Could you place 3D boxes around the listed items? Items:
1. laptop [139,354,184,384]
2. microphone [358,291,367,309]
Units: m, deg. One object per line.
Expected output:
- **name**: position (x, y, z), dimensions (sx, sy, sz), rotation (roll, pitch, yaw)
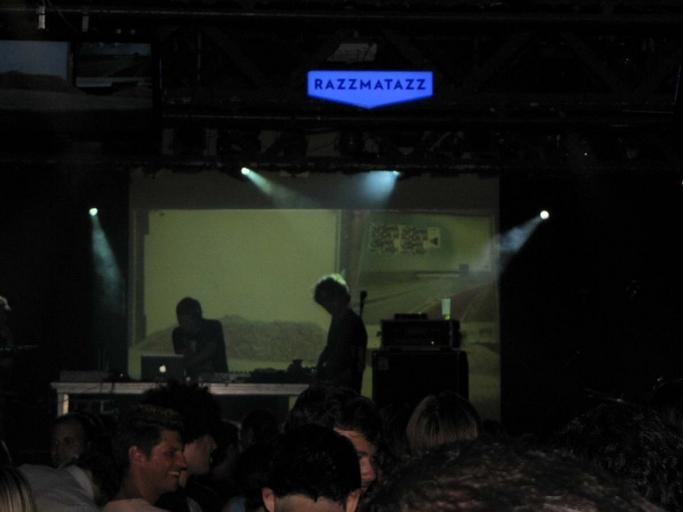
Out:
- **laptop**: position (-1.942, 1.177, 10.257), dimensions (0.642, 0.330, 0.398), rotation (2, -7, -8)
- **microphone**: position (0.226, 0.513, 11.302), dimensions (0.045, 0.186, 0.107), rotation (9, 3, 3)
